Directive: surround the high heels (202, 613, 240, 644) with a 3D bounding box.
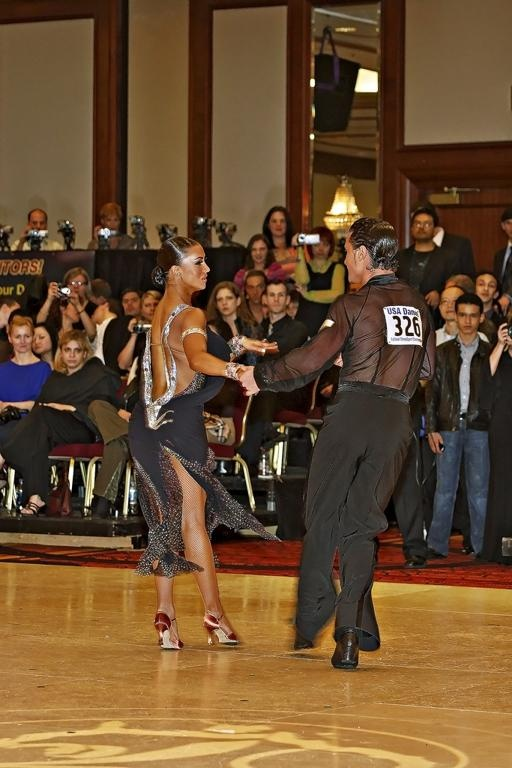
[{"bbox_3d":[-0.139,0.919,2.776,0.070,0.076,0.208,-1,-11,31],"label":"high heels"}]

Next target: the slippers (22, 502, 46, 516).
[{"bbox_3d":[-1.952,1.085,6.443,0.237,0.090,0.083,2,-3,-17],"label":"slippers"}]

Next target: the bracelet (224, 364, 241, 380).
[{"bbox_3d":[-0.086,-0.043,2.665,0.045,0.056,0.033,7,2,27],"label":"bracelet"}]

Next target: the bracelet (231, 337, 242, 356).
[{"bbox_3d":[-0.089,-0.151,2.994,0.062,0.073,0.025,1,11,-2],"label":"bracelet"}]

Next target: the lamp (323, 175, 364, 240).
[{"bbox_3d":[1.337,-2.703,11.429,0.554,0.794,0.521,3,18,8],"label":"lamp"}]

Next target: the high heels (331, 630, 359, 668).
[{"bbox_3d":[0.298,0.871,2.438,0.055,0.065,0.154,2,6,4],"label":"high heels"}]

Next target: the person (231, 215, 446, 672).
[{"bbox_3d":[0.329,0.181,2.697,0.492,1.594,0.512,1,-1,38],"label":"person"}]

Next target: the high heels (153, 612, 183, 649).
[{"bbox_3d":[-0.325,0.909,2.750,0.102,0.104,0.186,2,-1,-6],"label":"high heels"}]
